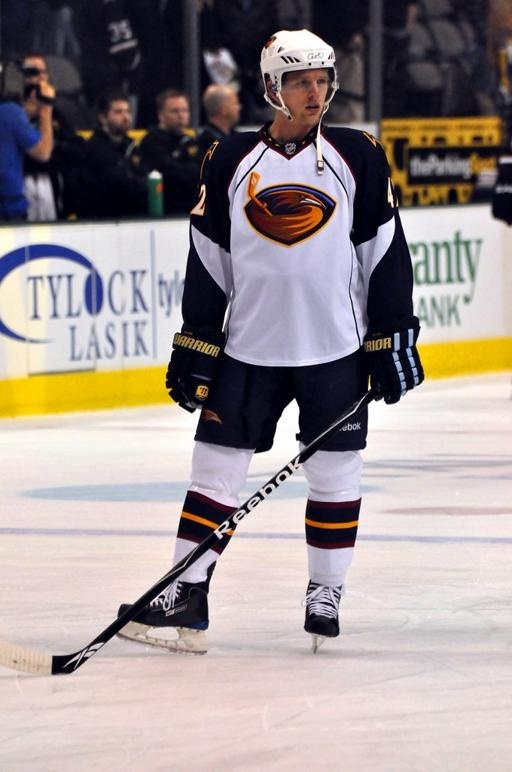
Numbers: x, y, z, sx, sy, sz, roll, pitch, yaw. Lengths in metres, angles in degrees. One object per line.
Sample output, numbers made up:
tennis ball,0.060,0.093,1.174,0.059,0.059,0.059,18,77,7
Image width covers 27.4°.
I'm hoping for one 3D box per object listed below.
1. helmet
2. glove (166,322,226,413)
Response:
helmet,0.123,-0.771,2.472,0.157,0.154,0.181,-6,4,-28
glove,-0.149,-0.041,2.430,0.163,0.180,0.078,11,3,19
